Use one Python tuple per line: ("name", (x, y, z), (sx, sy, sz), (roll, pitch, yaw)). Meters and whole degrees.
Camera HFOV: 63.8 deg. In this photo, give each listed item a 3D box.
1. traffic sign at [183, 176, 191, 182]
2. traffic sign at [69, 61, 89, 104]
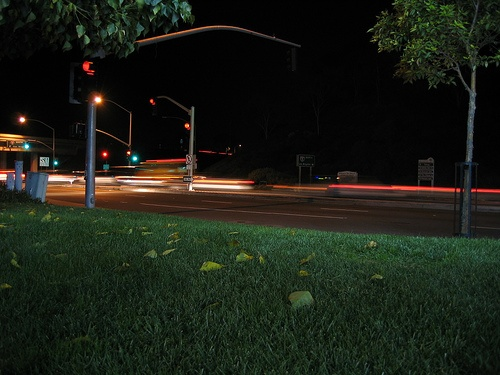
("traffic sign", (-4.811, -0.607, 30.889), (0.684, 0.531, 1.016), (0, 5, -10))
("traffic sign", (-5.550, -3.369, 12.840), (0.567, 1.219, 0.309), (0, 4, -8))
